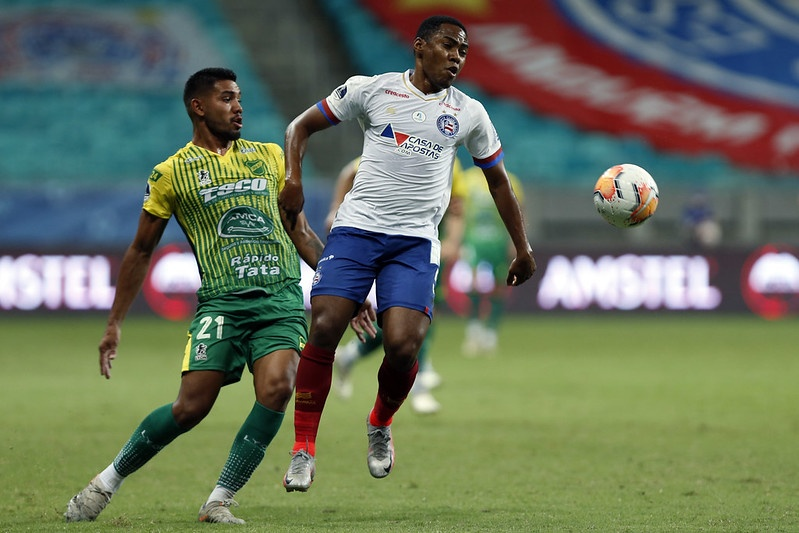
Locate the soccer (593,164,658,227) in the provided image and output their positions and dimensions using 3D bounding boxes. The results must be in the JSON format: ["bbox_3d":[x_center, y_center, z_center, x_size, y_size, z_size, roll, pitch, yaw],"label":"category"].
[{"bbox_3d":[1.912,-0.622,8.609,0.560,0.558,0.530,6,-23,3],"label":"soccer"}]

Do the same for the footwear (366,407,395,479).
[{"bbox_3d":[-0.162,1.487,8.308,0.197,0.532,0.220,-2,-14,-2],"label":"footwear"}]

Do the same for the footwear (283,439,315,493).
[{"bbox_3d":[-0.781,1.616,7.781,0.205,0.338,0.230,0,5,4],"label":"footwear"}]

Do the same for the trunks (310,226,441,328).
[{"bbox_3d":[-0.176,0.065,8.285,1.323,0.823,0.672,12,-11,-1],"label":"trunks"}]

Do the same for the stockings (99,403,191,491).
[{"bbox_3d":[-2.204,1.602,8.643,1.033,0.310,0.267,-39,-3,13],"label":"stockings"}]

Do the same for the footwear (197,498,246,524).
[{"bbox_3d":[-1.310,1.856,7.530,0.438,0.178,0.149,-4,-11,36],"label":"footwear"}]
